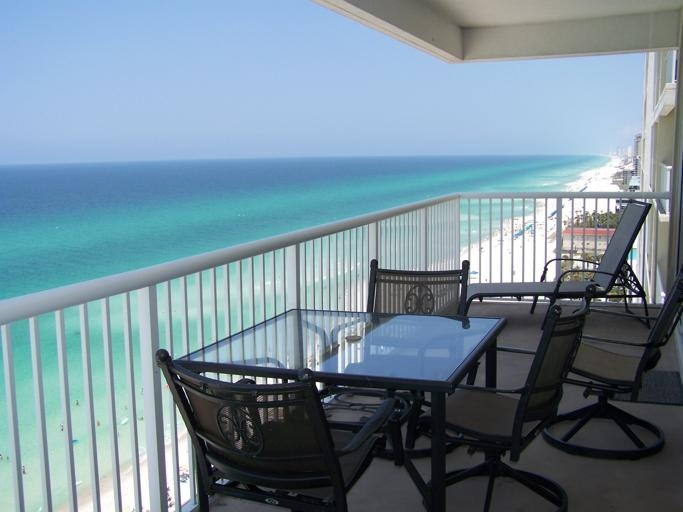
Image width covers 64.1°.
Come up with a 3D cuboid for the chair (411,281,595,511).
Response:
[{"bbox_3d":[1.001,0.595,3.022,0.949,1.417,0.923,6,14,30],"label":"chair"}]
